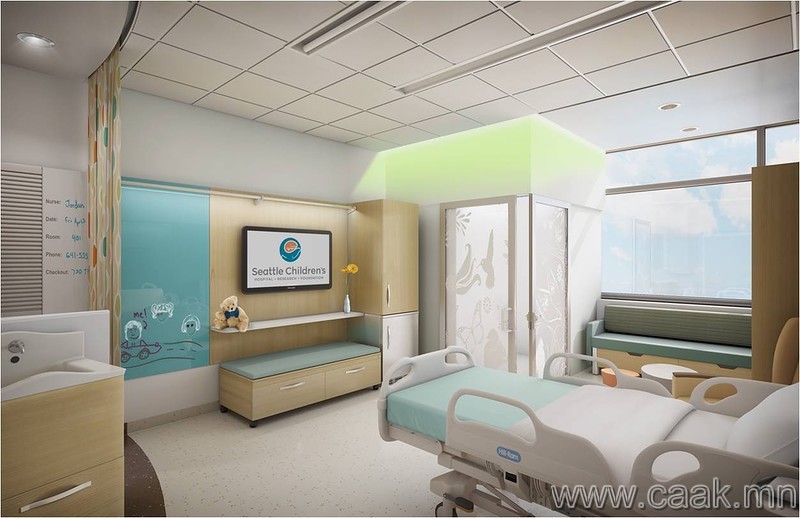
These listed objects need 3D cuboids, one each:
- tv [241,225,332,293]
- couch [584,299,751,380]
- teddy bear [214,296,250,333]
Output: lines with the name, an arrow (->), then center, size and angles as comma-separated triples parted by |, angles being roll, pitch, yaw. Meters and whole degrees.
tv -> -1.499, 0.006, 5.775 | 0.965, 0.573, 0.073 | -1, 2, -45
couch -> 3.858, 1.201, 6.413 | 2.107, 0.844, 0.605 | 2, 9, 32
teddy bear -> -1.979, 0.648, 5.322 | 0.387, 0.369, 0.265 | -1, 11, -5
